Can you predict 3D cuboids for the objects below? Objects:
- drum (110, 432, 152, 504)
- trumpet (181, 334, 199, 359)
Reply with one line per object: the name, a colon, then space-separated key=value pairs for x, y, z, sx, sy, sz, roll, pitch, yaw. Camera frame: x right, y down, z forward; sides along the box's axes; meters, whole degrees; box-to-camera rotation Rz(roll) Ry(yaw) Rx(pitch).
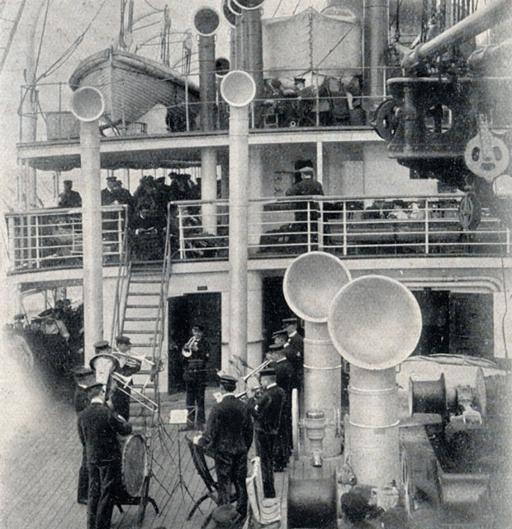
drum: x=-1.852 y=3.024 z=20.482 sx=0.345 sy=1.068 sz=0.834 roll=-1 pitch=-3 yaw=15
trumpet: x=-1.168 y=1.414 z=24.171 sx=0.255 sy=0.380 sz=0.409 roll=-2 pitch=-3 yaw=34
